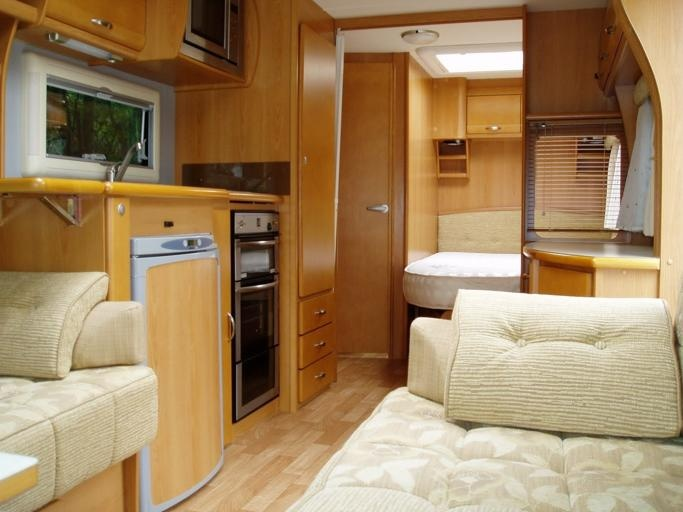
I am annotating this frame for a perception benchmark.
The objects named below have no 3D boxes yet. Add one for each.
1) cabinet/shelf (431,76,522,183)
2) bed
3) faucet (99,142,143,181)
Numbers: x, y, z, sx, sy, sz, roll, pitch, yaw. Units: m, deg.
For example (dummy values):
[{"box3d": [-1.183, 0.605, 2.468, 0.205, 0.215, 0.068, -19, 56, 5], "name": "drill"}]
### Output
[{"box3d": [1.445, -1.369, 5.595, 1.168, 1.359, 0.387, 0, 5, 3], "name": "cabinet/shelf"}, {"box3d": [1.144, -0.077, 4.790, 0.824, 0.556, 1.381, 1, 7, 19], "name": "bed"}, {"box3d": [-1.161, -0.502, 2.812, 0.193, 0.230, 0.651, -1, 5, -20], "name": "faucet"}]
